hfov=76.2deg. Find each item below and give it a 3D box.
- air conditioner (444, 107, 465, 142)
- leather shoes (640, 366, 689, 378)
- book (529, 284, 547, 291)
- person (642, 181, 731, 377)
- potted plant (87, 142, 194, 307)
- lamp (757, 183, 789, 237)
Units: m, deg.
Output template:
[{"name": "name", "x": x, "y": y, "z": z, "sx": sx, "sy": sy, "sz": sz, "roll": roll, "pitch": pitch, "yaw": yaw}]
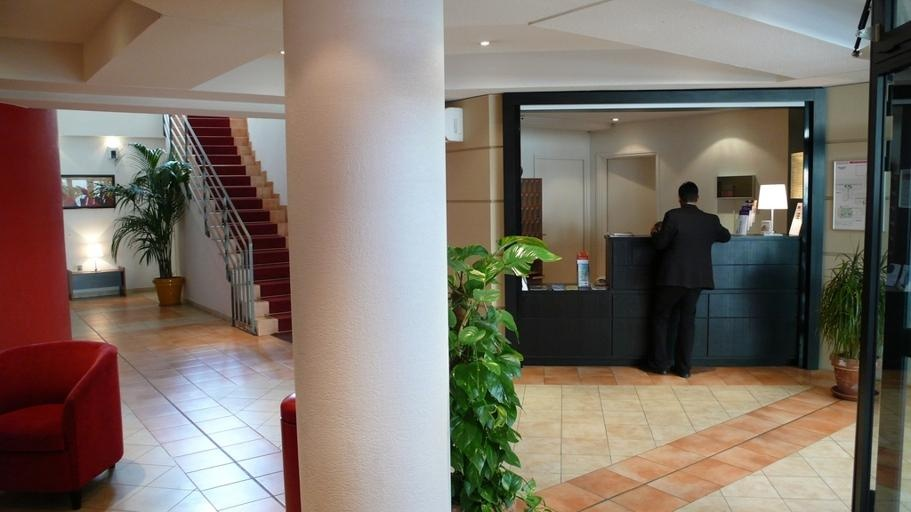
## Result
[{"name": "air conditioner", "x": 0.005, "y": -1.818, "z": 8.029, "sx": 0.236, "sy": 0.478, "sz": 0.132, "roll": -2, "pitch": 7, "yaw": 0}, {"name": "leather shoes", "x": 2.796, "y": 1.527, "z": 7.777, "sx": 0.190, "sy": 0.211, "sz": 0.569, "roll": 0, "pitch": -4, "yaw": -21}, {"name": "book", "x": 1.164, "y": 0.443, "z": 8.051, "sx": 0.269, "sy": 0.045, "sz": 0.194, "roll": 0, "pitch": 7, "yaw": 5}, {"name": "person", "x": 3.021, "y": 0.307, "z": 7.690, "sx": 0.903, "sy": 2.550, "sz": 0.431, "roll": -1, "pitch": 7, "yaw": 3}, {"name": "potted plant", "x": -6.752, "y": -0.756, "z": 12.851, "sx": 1.414, "sy": 3.474, "sz": 2.535, "roll": -7, "pitch": 9, "yaw": -39}, {"name": "lamp", "x": 4.551, "y": -0.693, "z": 8.320, "sx": 0.343, "sy": 0.676, "sz": 1.027, "roll": 2, "pitch": 8, "yaw": 29}]
